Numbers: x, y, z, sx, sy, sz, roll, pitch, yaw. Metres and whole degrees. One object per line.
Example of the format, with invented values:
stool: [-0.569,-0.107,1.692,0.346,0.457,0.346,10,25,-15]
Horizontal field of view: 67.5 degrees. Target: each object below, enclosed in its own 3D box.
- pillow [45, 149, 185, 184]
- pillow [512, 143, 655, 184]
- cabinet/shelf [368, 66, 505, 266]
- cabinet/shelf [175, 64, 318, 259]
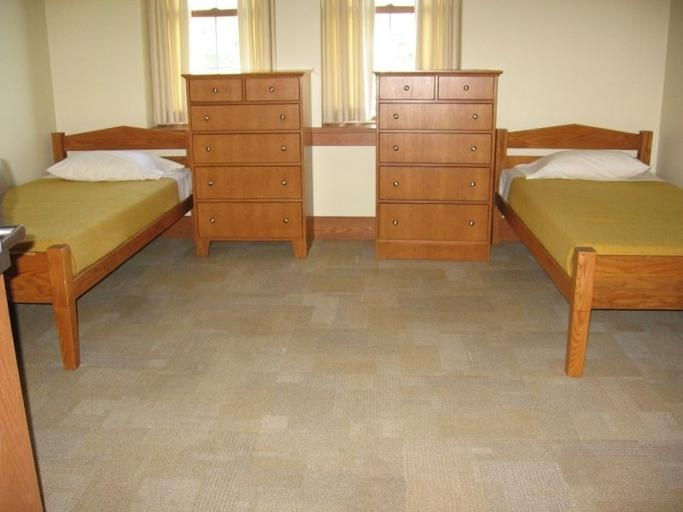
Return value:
pillow: [-2.110,-0.806,4.610,0.891,0.178,0.496,1,13,0]
pillow: [2.104,-0.796,4.514,0.806,0.166,0.458,0,24,13]
cabinet/shelf: [0.819,-0.768,4.485,1.007,1.608,0.365,0,23,5]
cabinet/shelf: [-0.851,-0.794,4.632,1.063,1.621,0.352,-1,23,3]
